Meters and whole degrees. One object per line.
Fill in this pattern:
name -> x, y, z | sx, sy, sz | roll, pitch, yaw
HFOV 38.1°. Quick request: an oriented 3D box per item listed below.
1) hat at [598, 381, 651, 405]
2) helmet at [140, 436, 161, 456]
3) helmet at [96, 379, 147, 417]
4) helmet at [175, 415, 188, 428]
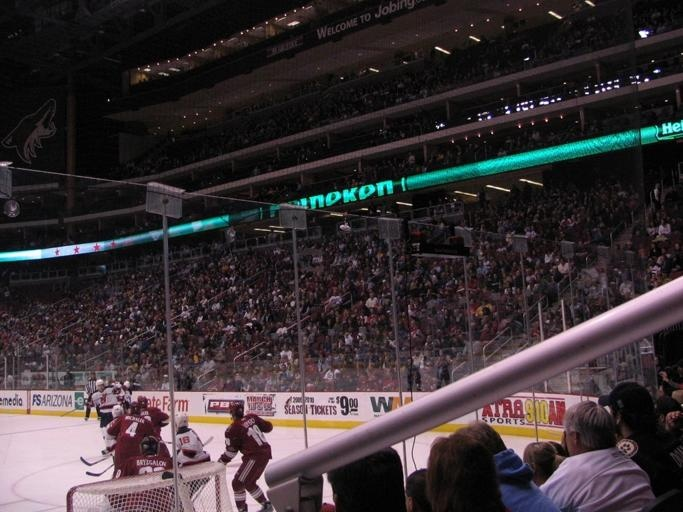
hat -> 4.302, 2.085, 15.070 | 0.583, 0.388, 0.424 | 3, 0, 25
helmet -> -3.146, 3.172, 16.408 | 0.236, 0.291, 0.307 | 0, 6, -14
helmet -> -3.888, 2.401, 16.860 | 0.459, 0.677, 0.342 | 14, -22, -5
helmet -> -2.627, 2.743, 16.312 | 0.147, 0.202, 0.197 | 1, 1, -25
